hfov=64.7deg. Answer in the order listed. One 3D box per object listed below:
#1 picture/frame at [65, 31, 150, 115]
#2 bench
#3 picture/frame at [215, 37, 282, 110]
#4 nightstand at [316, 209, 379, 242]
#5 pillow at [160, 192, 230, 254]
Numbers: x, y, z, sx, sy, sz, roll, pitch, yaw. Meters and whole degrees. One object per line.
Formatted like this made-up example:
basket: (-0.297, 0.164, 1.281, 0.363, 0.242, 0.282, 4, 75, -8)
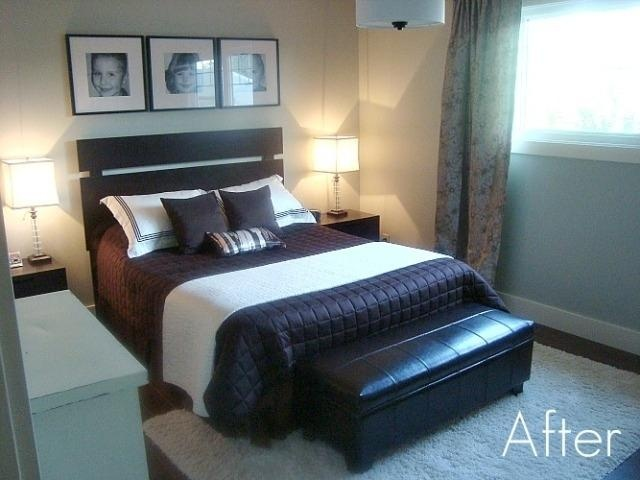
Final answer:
picture/frame: (-1.702, -1.324, 3.967, 0.599, 0.630, 0.044, -12, 19, -34)
bench: (0.553, 0.809, 2.870, 1.370, 0.547, 0.441, -14, 18, -29)
picture/frame: (-0.679, -1.519, 4.576, 0.599, 0.625, 0.023, -14, 25, -33)
nightstand: (0.314, -0.156, 4.980, 0.448, 0.447, 0.300, -16, 24, -39)
pillow: (-0.933, -0.105, 3.713, 0.382, 0.207, 0.324, -16, 46, -36)
